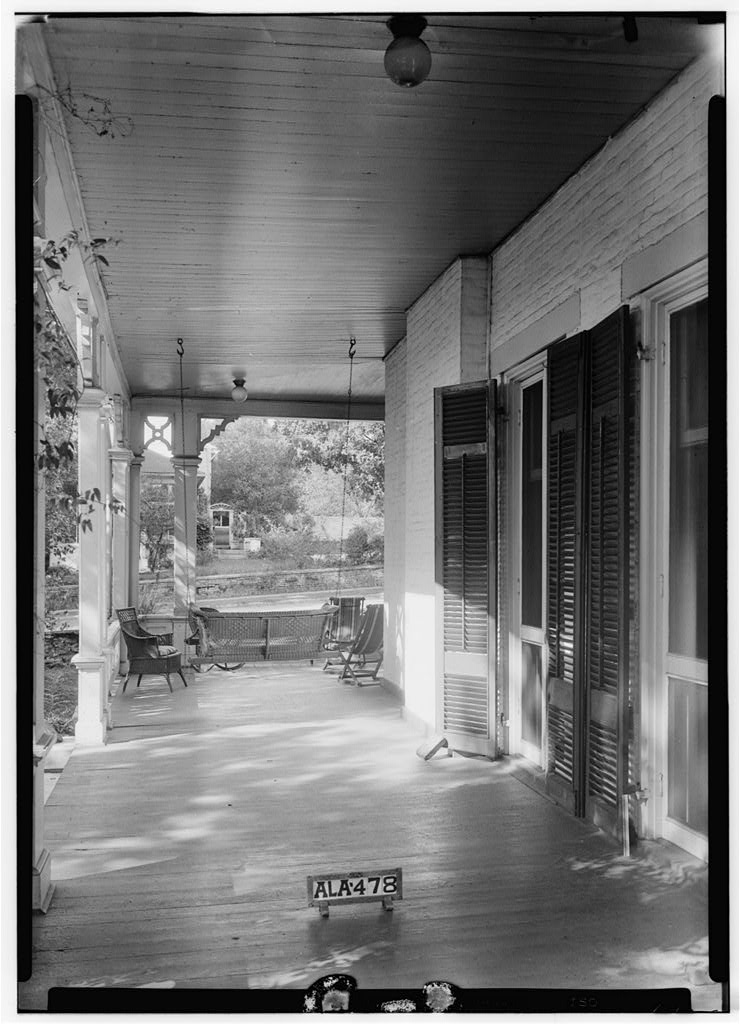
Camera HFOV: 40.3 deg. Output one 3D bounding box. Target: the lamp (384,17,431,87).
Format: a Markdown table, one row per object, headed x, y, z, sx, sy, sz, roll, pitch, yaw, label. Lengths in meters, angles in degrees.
| x | y | z | sx | sy | sz | roll | pitch | yaw | label |
| --- | --- | --- | --- | --- | --- | --- | --- | --- | --- |
| 0.135 | -1.581 | 3.470 | 0.142 | 0.249 | 0.141 | 5 | 9 | 43 | lamp |

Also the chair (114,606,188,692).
| x | y | z | sx | sy | sz | roll | pitch | yaw | label |
| --- | --- | --- | --- | --- | --- | --- | --- | --- | --- |
| -2.062 | 1.287 | 9.582 | 0.518 | 0.825 | 0.542 | -9 | -5 | 25 | chair |
